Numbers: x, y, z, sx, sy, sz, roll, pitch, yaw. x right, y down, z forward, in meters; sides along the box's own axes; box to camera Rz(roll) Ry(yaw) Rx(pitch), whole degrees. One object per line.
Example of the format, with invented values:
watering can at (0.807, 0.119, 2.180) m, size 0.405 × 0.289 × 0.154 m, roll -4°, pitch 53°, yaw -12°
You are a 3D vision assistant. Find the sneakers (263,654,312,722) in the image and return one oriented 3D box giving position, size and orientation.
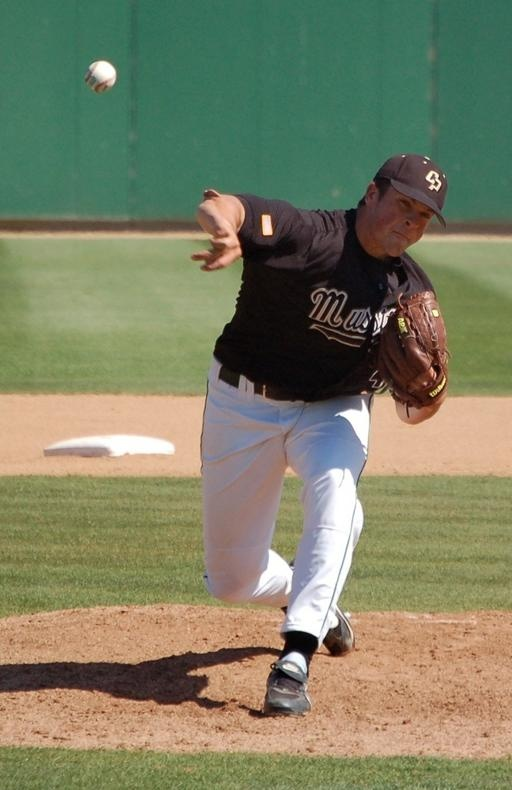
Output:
sneakers at (0.105, 0.847, 3.360) m, size 0.105 × 0.086 × 0.209 m, roll 3°, pitch 14°, yaw 3°

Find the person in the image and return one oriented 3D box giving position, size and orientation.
person at (0.202, 0.103, 3.619) m, size 0.762 × 1.686 × 0.869 m, roll 2°, pitch 12°, yaw 0°

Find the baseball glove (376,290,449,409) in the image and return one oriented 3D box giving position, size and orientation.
baseball glove at (0.506, -0.095, 3.737) m, size 0.276 × 0.369 × 0.140 m, roll 35°, pitch 71°, yaw 25°
